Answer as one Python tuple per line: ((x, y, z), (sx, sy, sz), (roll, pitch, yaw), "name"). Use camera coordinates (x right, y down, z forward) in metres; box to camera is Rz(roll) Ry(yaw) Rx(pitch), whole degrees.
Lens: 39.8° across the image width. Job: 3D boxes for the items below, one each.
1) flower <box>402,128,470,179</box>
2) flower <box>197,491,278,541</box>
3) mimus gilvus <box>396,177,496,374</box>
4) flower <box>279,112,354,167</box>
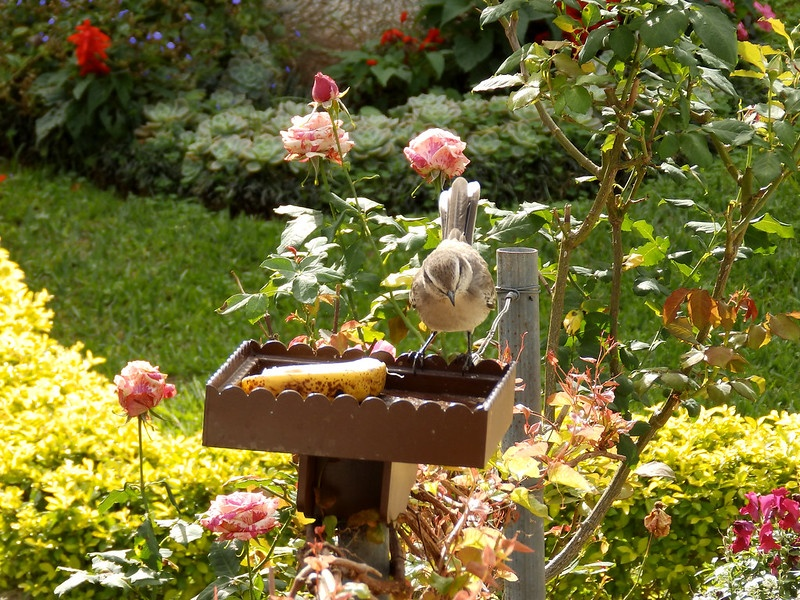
((0.141, -0.534, 4.005), (0.200, 0.191, 0.171), (5, 20, 37), "flower")
((-0.509, 0.691, 3.574), (0.162, 0.129, 0.181), (4, 15, 19), "flower")
((0.223, -0.106, 3.744), (0.286, 0.553, 0.493), (0, 7, 7), "mimus gilvus")
((-0.293, -0.583, 3.973), (0.144, 0.214, 0.200), (6, 14, 35), "flower")
